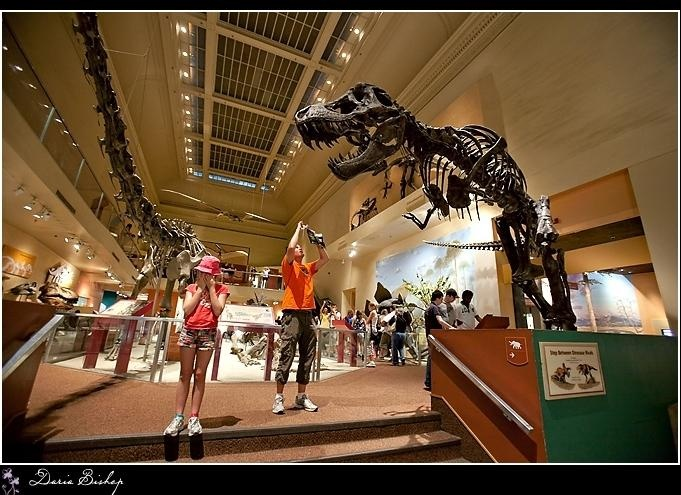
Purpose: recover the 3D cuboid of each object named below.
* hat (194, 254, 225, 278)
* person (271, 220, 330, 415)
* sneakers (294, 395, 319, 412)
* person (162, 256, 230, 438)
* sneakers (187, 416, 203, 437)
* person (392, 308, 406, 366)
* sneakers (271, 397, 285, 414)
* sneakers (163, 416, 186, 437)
[{"bbox_3d":[-1.172,0.189,3.221,0.204,0.114,0.216,14,-5,23],"label":"hat"},{"bbox_3d":[-0.402,0.673,3.795,0.495,2.010,0.858,4,-13,-9],"label":"person"},{"bbox_3d":[-0.337,1.597,3.642,0.256,0.115,0.112,-9,-16,43],"label":"sneakers"},{"bbox_3d":[-1.238,0.785,3.133,0.378,1.521,0.421,6,-13,-18],"label":"person"},{"bbox_3d":[-1.171,1.432,2.847,0.127,0.144,0.095,4,-13,-8],"label":"sneakers"},{"bbox_3d":[1.268,1.888,7.555,0.296,1.201,1.027,0,-12,9],"label":"person"},{"bbox_3d":[-0.601,1.534,3.474,0.123,0.158,0.133,4,-12,-9],"label":"sneakers"},{"bbox_3d":[-1.330,1.417,2.848,0.128,0.153,0.141,-2,-13,17],"label":"sneakers"}]
